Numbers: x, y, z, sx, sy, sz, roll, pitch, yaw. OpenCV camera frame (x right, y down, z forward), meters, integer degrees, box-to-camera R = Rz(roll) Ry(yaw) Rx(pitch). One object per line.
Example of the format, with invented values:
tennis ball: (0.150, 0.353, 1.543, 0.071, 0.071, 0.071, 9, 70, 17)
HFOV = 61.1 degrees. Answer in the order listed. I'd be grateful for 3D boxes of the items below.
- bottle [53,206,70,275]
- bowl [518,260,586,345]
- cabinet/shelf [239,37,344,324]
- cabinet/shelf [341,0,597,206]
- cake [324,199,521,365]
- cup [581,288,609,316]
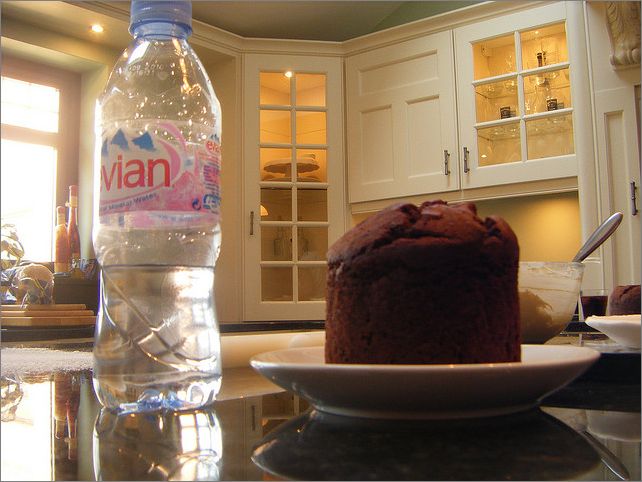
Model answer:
bottle: (-1.089, -0.009, 2.292, 0.060, 0.197, 0.308, -1, 0, -25)
bowl: (0.333, 0.090, 0.784, 0.111, 0.119, 0.038, -2, 0, -15)
cabinet/shelf: (-0.150, -0.335, 3.104, 0.596, 1.323, 0.296, -2, 0, 1)
cabinet/shelf: (0.795, -0.683, 2.794, 1.233, 0.859, 0.444, -5, -8, 36)
cake: (0.097, 0.048, 0.594, 0.168, 0.145, 0.166, 4, -12, -18)
cup: (0.755, 0.166, 1.466, 0.078, 0.087, 0.080, 2, -11, 0)
